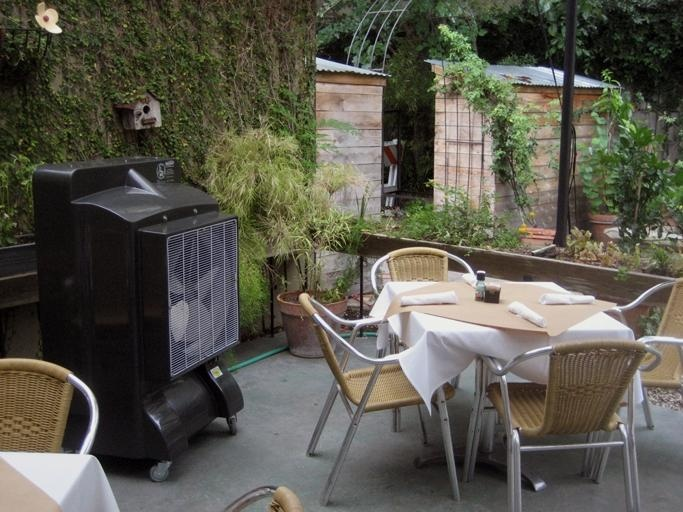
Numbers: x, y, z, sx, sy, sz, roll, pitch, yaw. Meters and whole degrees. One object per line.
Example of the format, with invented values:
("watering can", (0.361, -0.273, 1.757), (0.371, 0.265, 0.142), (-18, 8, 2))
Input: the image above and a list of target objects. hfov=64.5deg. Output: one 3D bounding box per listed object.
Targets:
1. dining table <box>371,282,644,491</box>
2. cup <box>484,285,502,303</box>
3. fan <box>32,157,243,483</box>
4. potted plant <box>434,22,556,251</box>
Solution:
("dining table", (0.806, 0.618, 2.926), (0.872, 0.296, 0.858), (-2, 13, -9))
("cup", (0.862, 0.219, 3.078), (0.108, 0.106, 0.087), (6, 10, 34))
("fan", (-1.231, 0.334, 3.527), (1.045, 1.739, 1.086), (4, 12, 3))
("potted plant", (1.994, -1.717, 7.309), (1.329, 2.652, 0.991), (5, 15, 20))
